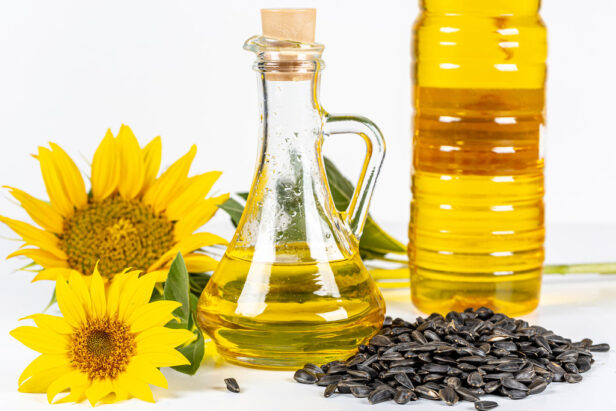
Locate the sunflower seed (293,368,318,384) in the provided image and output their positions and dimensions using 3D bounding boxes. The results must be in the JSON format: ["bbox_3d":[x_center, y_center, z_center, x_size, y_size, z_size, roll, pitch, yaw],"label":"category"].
[{"bbox_3d":[-0.006,0.323,1.163,0.038,0.022,0.013,8,25,21],"label":"sunflower seed"}]

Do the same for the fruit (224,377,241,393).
[{"bbox_3d":[-0.144,0.340,1.155,0.026,0.013,0.040,-3,12,-15],"label":"fruit"}]

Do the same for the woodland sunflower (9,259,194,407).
[{"bbox_3d":[-0.386,0.243,1.117,0.339,0.226,0.152,0,15,1],"label":"woodland sunflower"}]
